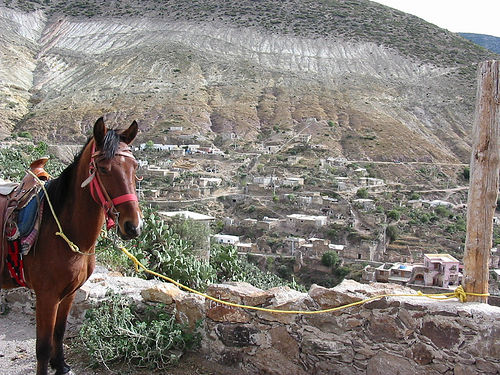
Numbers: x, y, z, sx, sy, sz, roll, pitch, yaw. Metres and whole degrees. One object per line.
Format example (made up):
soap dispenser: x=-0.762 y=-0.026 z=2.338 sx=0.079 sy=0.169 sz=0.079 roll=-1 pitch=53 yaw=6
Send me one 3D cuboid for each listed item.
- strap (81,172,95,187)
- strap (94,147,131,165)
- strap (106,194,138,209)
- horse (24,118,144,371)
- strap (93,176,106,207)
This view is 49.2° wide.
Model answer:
strap: x=-1.224 y=-0.060 z=4.183 sx=0.148 sy=0.031 sz=0.036 roll=-42 pitch=-11 yaw=-20
strap: x=-1.037 y=-0.248 z=4.146 sx=0.166 sy=0.038 sz=0.164 roll=-27 pitch=-4 yaw=30
strap: x=-0.915 y=0.085 z=4.049 sx=0.181 sy=0.071 sz=0.091 roll=-5 pitch=4 yaw=-13
horse: x=-1.290 y=0.534 z=4.334 sx=1.190 sy=2.078 sz=0.420 roll=-4 pitch=5 yaw=17
strap: x=-1.115 y=0.035 z=4.108 sx=0.060 sy=0.267 sz=0.017 roll=-10 pitch=24 yaw=28
